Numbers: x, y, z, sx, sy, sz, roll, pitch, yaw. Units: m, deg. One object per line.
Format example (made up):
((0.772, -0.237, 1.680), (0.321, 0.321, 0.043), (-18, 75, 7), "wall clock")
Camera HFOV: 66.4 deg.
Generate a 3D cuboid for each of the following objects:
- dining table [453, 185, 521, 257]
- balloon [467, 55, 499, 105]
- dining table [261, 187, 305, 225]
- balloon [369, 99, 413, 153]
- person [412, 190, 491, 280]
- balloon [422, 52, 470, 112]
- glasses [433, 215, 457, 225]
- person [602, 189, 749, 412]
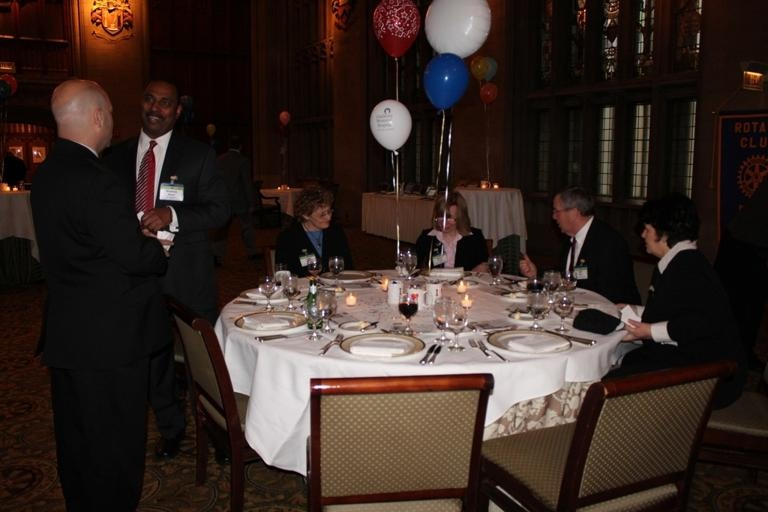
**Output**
((1.651, -0.587, 8.768), (0.852, 0.821, 0.896), (2, 19, 8), "dining table")
((1.559, -2.671, 9.114), (0.419, 0.869, 0.349), (-3, 36, 18), "balloon")
((-1.840, -0.885, 10.281), (1.030, 0.449, 1.062), (-12, 19, -34), "dining table")
((0.053, -0.976, 4.423), (0.417, 0.454, 0.441), (1, -2, 3), "balloon")
((0.533, -0.047, 4.856), (0.610, 0.922, 0.485), (-1, 14, 15), "person")
((0.469, -1.329, 4.527), (0.360, 0.484, 0.373), (7, 3, -13), "balloon")
((0.485, -0.281, 4.736), (0.192, 0.104, 0.173), (3, 13, 18), "glasses")
((1.699, 0.449, 3.523), (0.812, 1.591, 0.718), (1, 6, 39), "person")
